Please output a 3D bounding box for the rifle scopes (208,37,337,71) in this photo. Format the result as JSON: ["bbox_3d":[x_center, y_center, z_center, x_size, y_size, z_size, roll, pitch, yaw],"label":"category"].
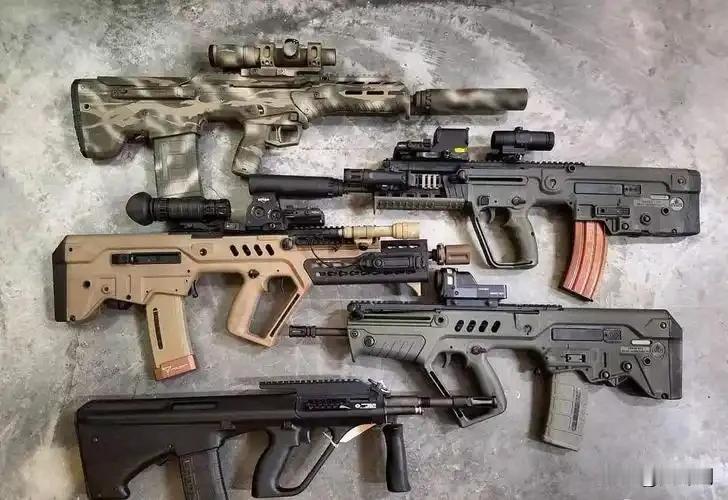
[{"bbox_3d":[-0.795,-1.768,7.477,1.078,0.254,0.349,1,122,0],"label":"rifle scopes"}]

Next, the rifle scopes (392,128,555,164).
[{"bbox_3d":[0.952,-0.933,7.426,1.165,0.291,0.408,-1,94,0],"label":"rifle scopes"}]

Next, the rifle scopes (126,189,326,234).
[{"bbox_3d":[-1.214,-0.328,7.290,1.660,0.374,0.461,0,91,-4],"label":"rifle scopes"}]

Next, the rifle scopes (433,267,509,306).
[{"bbox_3d":[0.973,0.302,7.426,0.610,0.348,0.381,1,101,0],"label":"rifle scopes"}]
